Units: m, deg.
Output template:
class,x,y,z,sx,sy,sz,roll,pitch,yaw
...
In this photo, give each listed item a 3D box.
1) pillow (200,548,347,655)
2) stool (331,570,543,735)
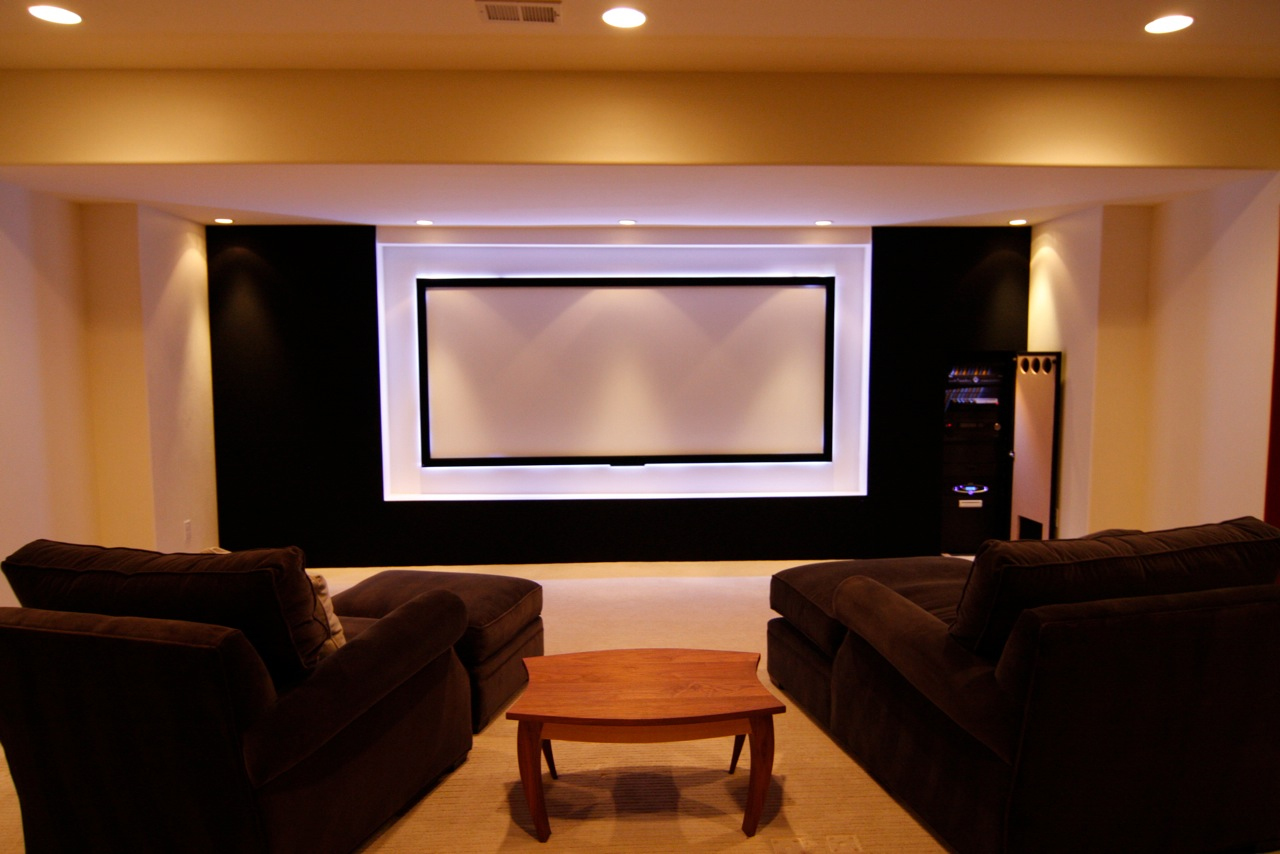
class,x,y,z,sx,sy,sz,roll,pitch,yaw
pillow,-1.646,0.793,4.395,0.494,0.226,0.468,10,8,-7
stool,-1.040,1.103,5.514,0.911,0.660,0.906,-3,8,8
